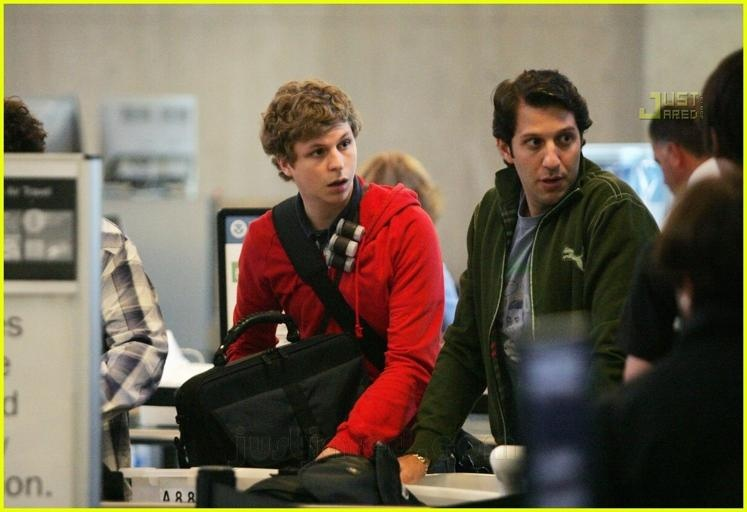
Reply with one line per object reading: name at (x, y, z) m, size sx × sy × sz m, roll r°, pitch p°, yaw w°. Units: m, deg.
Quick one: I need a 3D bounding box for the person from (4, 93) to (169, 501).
person at (-1.134, 0.136, 4.413) m, size 0.629 × 1.465 × 0.594 m, roll -3°, pitch -1°, yaw 22°

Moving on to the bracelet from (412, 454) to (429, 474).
bracelet at (0.189, 0.771, 4.242) m, size 0.055 × 0.048 × 0.063 m, roll -46°, pitch -19°, yaw 3°
